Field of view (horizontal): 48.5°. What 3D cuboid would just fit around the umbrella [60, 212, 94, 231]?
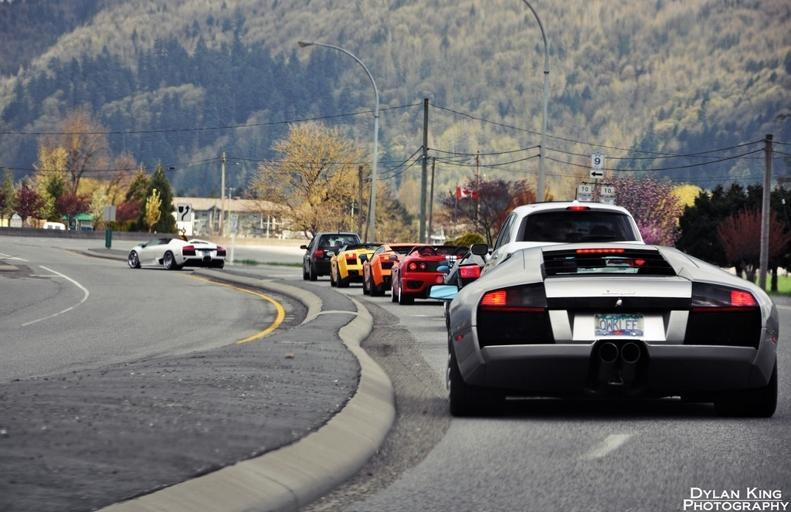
[{"bbox_3d":[-48.140,-5.259,131.335,3.236,2.223,3.432,-1,-2,20],"label":"umbrella"}]

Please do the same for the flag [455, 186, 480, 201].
[{"bbox_3d":[6.214,-5.670,79.124,1.539,0.636,1.550,22,10,-28],"label":"flag"}]
